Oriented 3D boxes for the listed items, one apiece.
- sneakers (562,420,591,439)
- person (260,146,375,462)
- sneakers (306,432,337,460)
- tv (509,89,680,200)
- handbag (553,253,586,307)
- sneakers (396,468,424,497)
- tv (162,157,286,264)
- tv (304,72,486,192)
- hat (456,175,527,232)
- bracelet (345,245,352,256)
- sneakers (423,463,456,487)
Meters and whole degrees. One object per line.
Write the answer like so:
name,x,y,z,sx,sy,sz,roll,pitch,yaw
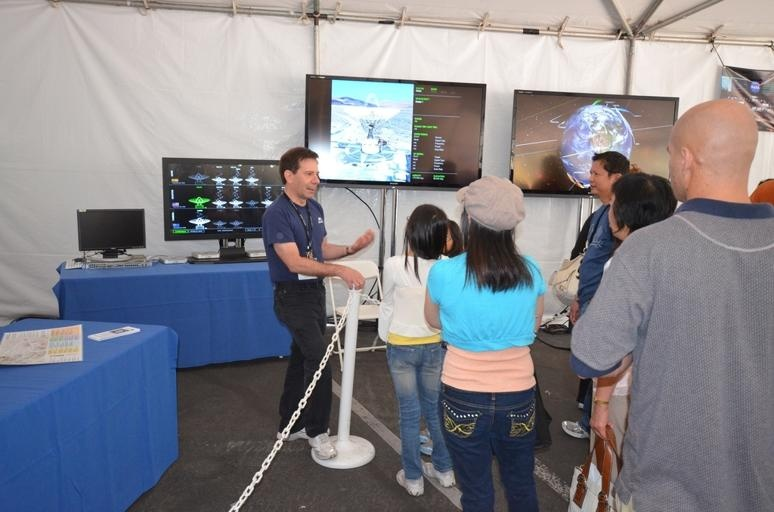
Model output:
sneakers,1.503,1.386,4.488,0.096,0.068,0.159,0,24,-44
person,-0.541,0.319,4.180,0.674,2.198,0.774,-4,12,-12
sneakers,-0.463,1.372,4.091,0.181,0.171,0.179,-7,13,-25
tv,2.392,-1.278,6.507,1.940,1.236,0.066,2,-3,0
handbag,1.501,0.183,4.721,0.244,0.431,0.359,12,4,-4
sneakers,0.161,1.548,3.877,0.102,0.139,0.201,-3,18,-13
tv,-1.614,-0.478,5.779,1.355,1.015,0.379,1,7,7
tv,0.038,-1.350,6.106,1.693,1.001,0.029,2,4,-5
hat,0.538,-0.277,2.901,0.248,0.178,0.337,-6,40,-16
bracelet,-0.304,-0.041,4.364,0.049,0.069,0.077,-3,-12,2
sneakers,0.356,1.525,3.955,0.093,0.113,0.259,-5,14,-33
